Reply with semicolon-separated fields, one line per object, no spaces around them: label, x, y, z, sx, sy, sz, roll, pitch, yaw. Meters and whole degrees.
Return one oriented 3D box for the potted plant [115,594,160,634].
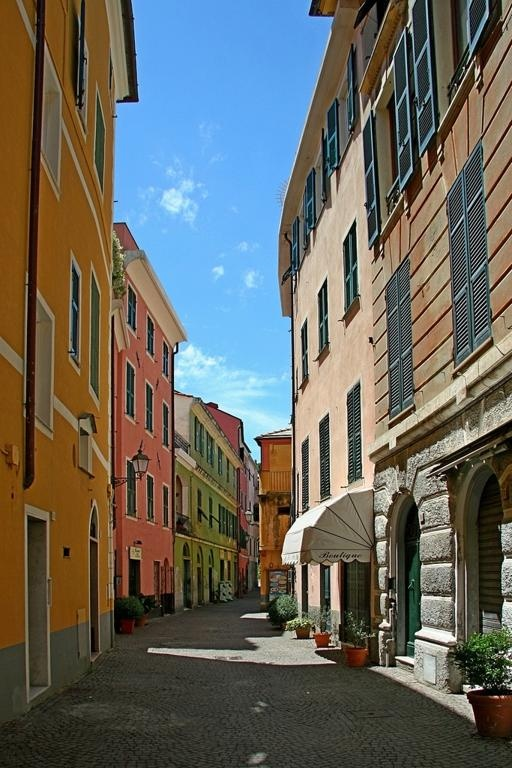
potted plant;-3.368;6.235;21.066;0.736;1.366;1.080;1;-3;7
